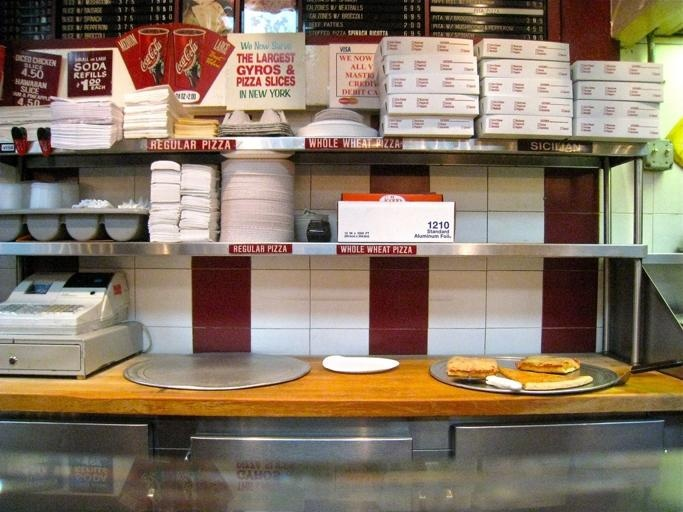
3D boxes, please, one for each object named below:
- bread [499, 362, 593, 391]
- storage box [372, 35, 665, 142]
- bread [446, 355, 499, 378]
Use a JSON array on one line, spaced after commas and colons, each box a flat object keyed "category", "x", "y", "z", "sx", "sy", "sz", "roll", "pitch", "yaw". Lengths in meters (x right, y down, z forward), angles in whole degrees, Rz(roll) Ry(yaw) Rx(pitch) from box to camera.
[{"category": "bread", "x": 1.037, "y": 0.632, "z": 3.897, "sx": 0.470, "sy": 0.050, "sz": 0.248, "roll": 1, "pitch": 9, "yaw": 15}, {"category": "storage box", "x": 0.959, "y": -0.893, "z": 4.052, "sx": 1.490, "sy": 0.576, "sz": 0.202, "roll": -2, "pitch": 9, "yaw": -3}, {"category": "bread", "x": 0.710, "y": 0.583, "z": 4.092, "sx": 0.270, "sy": 0.072, "sz": 0.234, "roll": 0, "pitch": 9, "yaw": 9}]
